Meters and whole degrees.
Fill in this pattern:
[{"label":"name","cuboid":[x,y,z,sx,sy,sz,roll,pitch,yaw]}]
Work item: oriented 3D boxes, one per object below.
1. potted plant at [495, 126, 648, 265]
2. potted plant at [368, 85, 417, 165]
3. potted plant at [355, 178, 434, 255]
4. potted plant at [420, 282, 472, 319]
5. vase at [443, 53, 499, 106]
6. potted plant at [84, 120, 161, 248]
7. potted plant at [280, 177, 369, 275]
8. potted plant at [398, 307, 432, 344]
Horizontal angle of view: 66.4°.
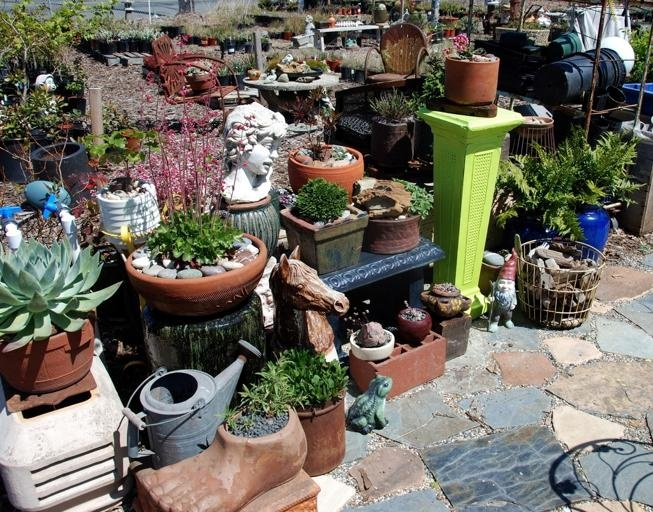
[{"label":"potted plant","cuboid":[2.351,-0.618,4.916,1.464,1.162,0.794,-13,24,-26]},{"label":"potted plant","cuboid":[0.781,-1.473,5.795,0.489,0.767,0.498,2,22,3]},{"label":"potted plant","cuboid":[0.533,-0.315,4.125,0.678,0.425,0.576,-20,26,-36]},{"label":"potted plant","cuboid":[0.928,0.323,3.899,0.293,0.164,0.313,17,26,32]},{"label":"vase","cuboid":[1.200,-1.480,4.116,0.458,0.323,0.437,-5,32,-5]},{"label":"potted plant","cuboid":[-1.415,-0.447,3.610,0.531,0.936,0.664,-4,22,-11]},{"label":"potted plant","cuboid":[-0.016,-0.258,3.850,0.533,0.645,0.473,-17,28,-37]},{"label":"potted plant","cuboid":[0.669,0.521,3.794,0.288,0.192,0.273,0,14,12]}]
